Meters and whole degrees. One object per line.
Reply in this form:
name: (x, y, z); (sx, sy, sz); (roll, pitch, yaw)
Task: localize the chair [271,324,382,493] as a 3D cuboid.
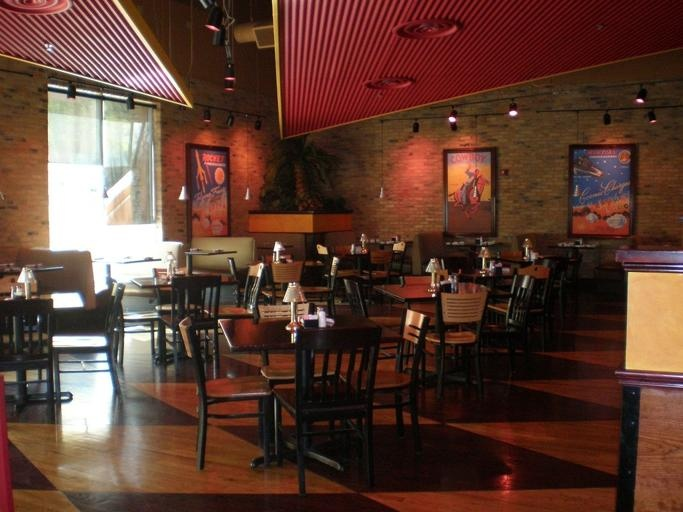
chair: (-0.117, 0.982, 4.490); (0.782, 1.155, 1.107); (-1, 8, -1)

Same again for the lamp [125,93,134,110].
lamp: (-3.490, -2.581, 10.015); (0.098, 0.244, 0.623); (-5, 8, -21)
